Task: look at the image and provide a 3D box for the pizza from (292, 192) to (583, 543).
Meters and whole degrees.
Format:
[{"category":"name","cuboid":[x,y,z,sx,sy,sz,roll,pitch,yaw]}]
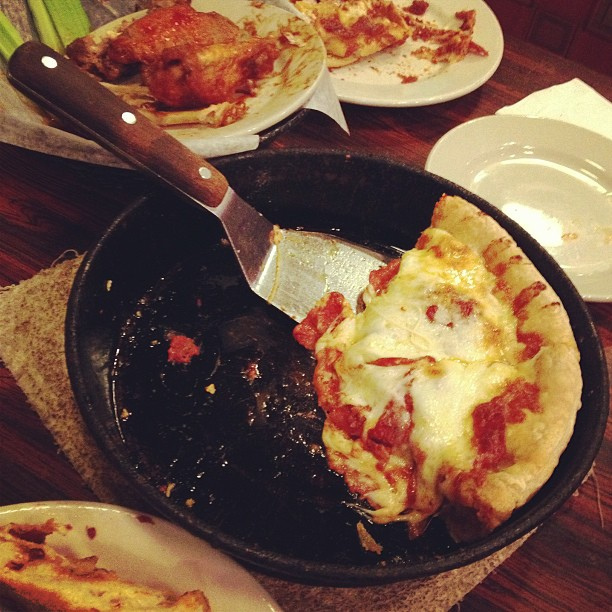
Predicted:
[{"category":"pizza","cuboid":[0.278,0.124,1.598,0.550,0.192,0.720,-11,63,-4]}]
